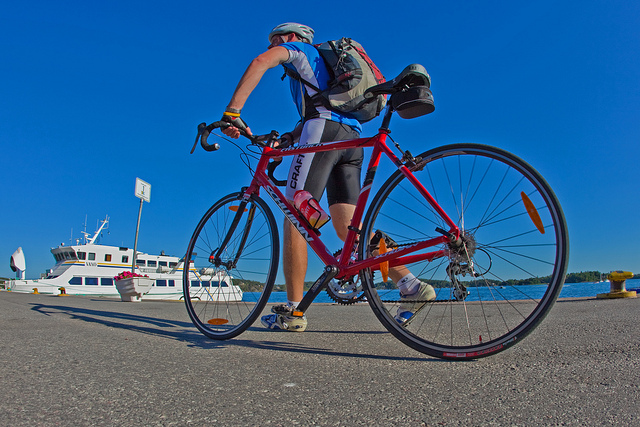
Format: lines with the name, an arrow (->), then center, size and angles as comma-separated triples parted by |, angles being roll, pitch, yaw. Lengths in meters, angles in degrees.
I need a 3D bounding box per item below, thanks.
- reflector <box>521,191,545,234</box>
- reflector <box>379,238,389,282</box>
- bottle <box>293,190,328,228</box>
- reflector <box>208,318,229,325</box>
reflector -> 1.247, -0.013, 2.493 | 0.107, 0.257, 0.287 | -1, -5, 26
reflector -> 0.427, 0.309, 2.822 | 0.062, 0.294, 0.104 | 1, -4, 8
bottle -> -0.080, -0.028, 3.024 | 0.145, 0.330, 0.142 | -32, -28, -19
reflector -> -0.803, 0.848, 3.332 | 0.131, 0.047, 0.201 | 3, -5, -27
